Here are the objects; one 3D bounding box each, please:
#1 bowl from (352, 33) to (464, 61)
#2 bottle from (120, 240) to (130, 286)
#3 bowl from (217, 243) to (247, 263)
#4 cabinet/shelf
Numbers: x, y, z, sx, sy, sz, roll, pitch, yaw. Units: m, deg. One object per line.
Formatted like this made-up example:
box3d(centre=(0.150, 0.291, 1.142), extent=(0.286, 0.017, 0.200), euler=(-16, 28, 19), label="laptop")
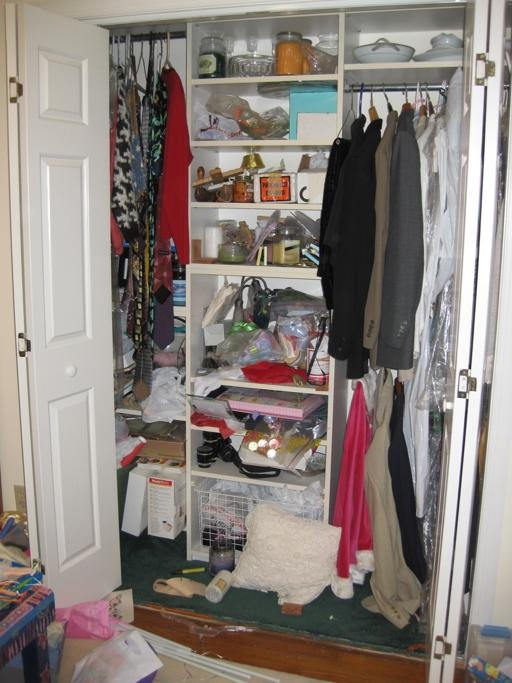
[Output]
box3d(centre=(0.531, -1.025, 1.930), extent=(0.370, 0.106, 0.134), euler=(4, 10, 17), label="bowl")
box3d(centre=(-0.584, -0.339, 2.403), extent=(0.034, 0.152, 0.156), euler=(4, -4, -11), label="bottle")
box3d(centre=(-0.102, -0.367, 2.209), extent=(0.085, 0.067, 0.088), euler=(0, 12, 0), label="bowl")
box3d(centre=(0.260, -0.122, 2.174), extent=(1.244, 2.252, 0.655), euler=(8, 11, 38), label="cabinet/shelf")
